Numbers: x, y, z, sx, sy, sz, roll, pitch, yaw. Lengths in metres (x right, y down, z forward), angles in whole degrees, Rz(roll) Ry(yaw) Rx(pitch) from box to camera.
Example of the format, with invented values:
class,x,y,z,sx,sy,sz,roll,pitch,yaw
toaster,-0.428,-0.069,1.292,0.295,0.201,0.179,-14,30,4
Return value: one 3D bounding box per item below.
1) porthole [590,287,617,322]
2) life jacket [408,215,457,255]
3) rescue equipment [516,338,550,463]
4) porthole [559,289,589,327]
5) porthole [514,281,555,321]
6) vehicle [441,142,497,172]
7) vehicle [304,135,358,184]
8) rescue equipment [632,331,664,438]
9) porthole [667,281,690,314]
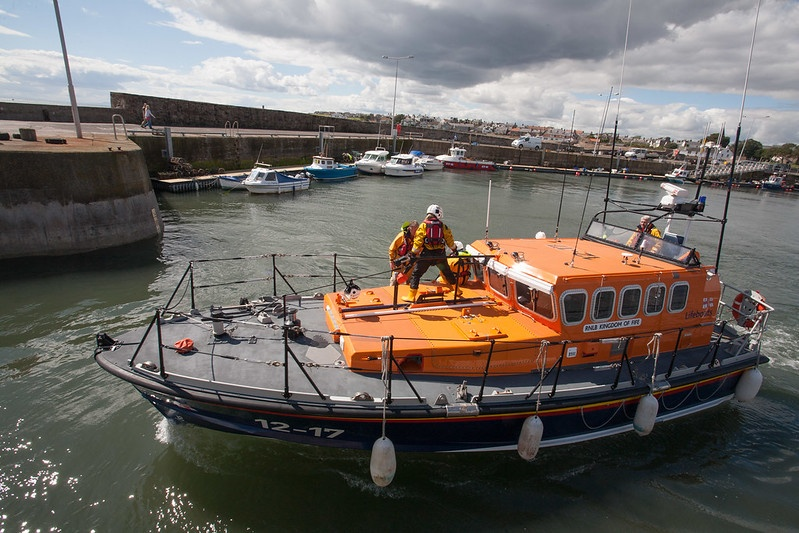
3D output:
class,x,y,z,sx,sy,sz,roll,pitch,yaw
porthole,3.869,0.698,8.689,0.754,0.804,0.092,-8,23,-17
life jacket,0.671,-0.603,9.458,1.201,0.771,0.503,-7,13,-34
rescue equipment,2.487,2.534,8.232,0.497,2.200,0.440,10,11,0
porthole,3.245,0.761,8.545,0.847,0.853,0.126,-5,17,-10
porthole,2.624,0.668,8.770,0.171,0.469,0.770,-27,36,-29
vehicle,7.133,-12.233,51.521,7.494,2.127,2.728,2,17,-3
vehicle,-5.241,-7.913,35.411,2.202,2.413,4.795,21,25,36
rescue equipment,4.848,2.341,8.773,0.440,2.026,0.414,2,9,-24
porthole,5.613,0.633,9.162,0.518,0.554,0.165,5,6,-20
